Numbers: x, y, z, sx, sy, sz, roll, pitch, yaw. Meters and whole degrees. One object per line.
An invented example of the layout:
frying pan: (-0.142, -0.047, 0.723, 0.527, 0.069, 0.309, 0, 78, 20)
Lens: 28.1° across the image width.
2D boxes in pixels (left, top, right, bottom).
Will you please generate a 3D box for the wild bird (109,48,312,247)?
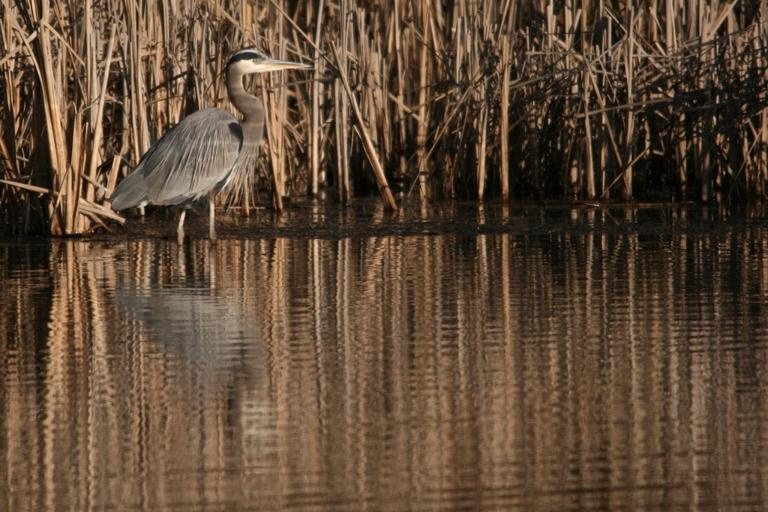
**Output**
wild bird: (-1.229, -0.741, 10.818, 1.425, 1.361, 0.486, 0, 6, 1)
